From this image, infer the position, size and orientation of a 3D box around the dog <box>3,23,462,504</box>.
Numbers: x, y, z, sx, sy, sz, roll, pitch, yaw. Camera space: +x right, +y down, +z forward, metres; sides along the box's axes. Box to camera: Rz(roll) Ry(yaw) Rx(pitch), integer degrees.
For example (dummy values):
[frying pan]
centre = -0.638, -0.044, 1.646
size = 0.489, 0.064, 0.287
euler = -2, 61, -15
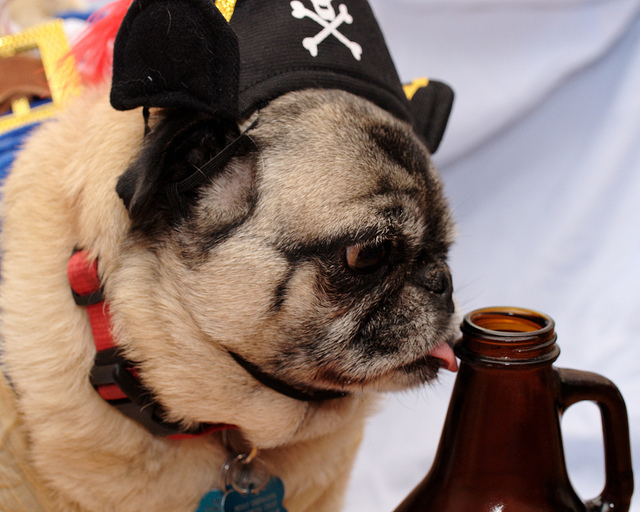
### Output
[dog]
centre = -0.184, 0.061, 1.299
size = 0.774, 0.483, 0.638
euler = 2, -2, 28
